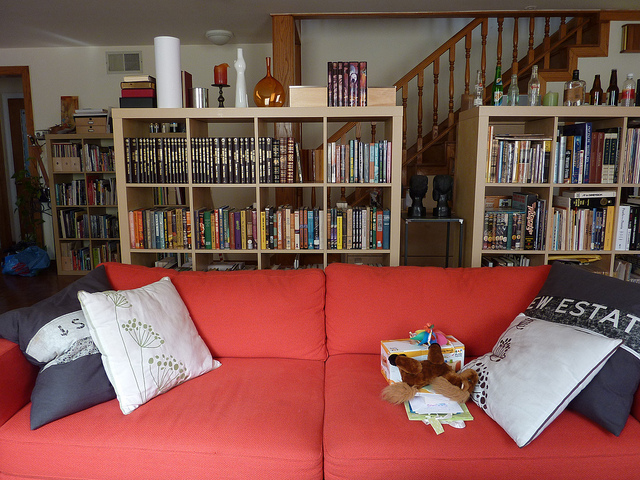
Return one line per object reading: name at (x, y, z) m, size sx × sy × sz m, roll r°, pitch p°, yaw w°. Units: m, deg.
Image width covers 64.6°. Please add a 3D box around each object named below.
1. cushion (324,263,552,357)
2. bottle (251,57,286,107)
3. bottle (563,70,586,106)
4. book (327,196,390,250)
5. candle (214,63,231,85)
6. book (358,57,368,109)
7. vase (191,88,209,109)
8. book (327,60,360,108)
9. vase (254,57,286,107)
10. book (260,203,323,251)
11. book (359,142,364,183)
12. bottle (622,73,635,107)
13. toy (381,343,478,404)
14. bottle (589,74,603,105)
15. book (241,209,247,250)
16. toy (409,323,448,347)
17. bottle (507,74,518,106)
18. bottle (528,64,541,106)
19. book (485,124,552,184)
cushion at (0.610, 0.307, 2.813) m, size 1.338 × 0.640 × 0.316 m, roll -2°, pitch 36°, yaw -3°
bottle at (-0.362, -1.093, 3.616) m, size 0.298 × 0.427 × 0.299 m, roll -1°, pitch -1°, yaw 0°
bottle at (1.775, -1.027, 3.523) m, size 0.133 × 0.323 × 0.106 m, roll 2°, pitch -12°, yaw 28°
book at (0.266, -0.084, 3.531) m, size 0.428 × 0.281 × 0.135 m, roll 0°, pitch 10°, yaw 3°
candle at (-0.699, -1.167, 3.568) m, size 0.089 × 0.141 × 0.082 m, roll -3°, pitch 10°, yaw -11°
book at (0.279, -1.043, 3.386) m, size 0.057 × 0.289 × 0.039 m, roll -2°, pitch 5°, yaw -24°
vase at (-0.822, -0.975, 3.472) m, size 0.107 × 0.140 × 0.123 m, roll -4°, pitch 10°, yaw -18°
book at (0.166, -1.049, 3.391) m, size 0.238 × 0.334 × 0.035 m, roll 1°, pitch -12°, yaw 8°
vase at (-0.354, -1.088, 3.491) m, size 0.208 × 0.351 × 0.226 m, roll -1°, pitch 10°, yaw -3°
book at (-0.218, -0.074, 3.674) m, size 0.415 × 0.292 × 0.304 m, roll 1°, pitch 1°, yaw 0°
book at (0.285, -0.530, 3.469) m, size 0.032 × 0.266 × 0.036 m, roll -1°, pitch 10°, yaw -1°
bottle at (2.088, -1.011, 3.421) m, size 0.074 × 0.233 × 0.227 m, roll 5°, pitch 11°, yaw 29°
toy at (0.528, 0.625, 2.359) m, size 0.384 × 0.132 × 0.345 m, roll 1°, pitch 31°, yaw 25°
bottle at (1.984, -1.073, 3.637) m, size 0.083 × 0.219 × 0.339 m, roll 5°, pitch 11°, yaw 27°
book at (-0.537, -0.068, 3.535) m, size 0.044 × 0.199 × 0.193 m, roll 3°, pitch 4°, yaw -5°
toy at (0.529, 0.460, 2.454) m, size 0.117 × 0.062 × 0.118 m, roll 6°, pitch -2°, yaw -26°
bottle at (1.333, -1.034, 3.488) m, size 0.063 × 0.223 × 0.174 m, roll 4°, pitch 11°, yaw 23°
bottle at (1.486, -1.069, 3.509) m, size 0.076 × 0.283 × 0.232 m, roll 3°, pitch 11°, yaw 21°
book at (1.373, -0.576, 3.498) m, size 0.428 × 0.438 × 0.213 m, roll 1°, pitch 5°, yaw 1°
